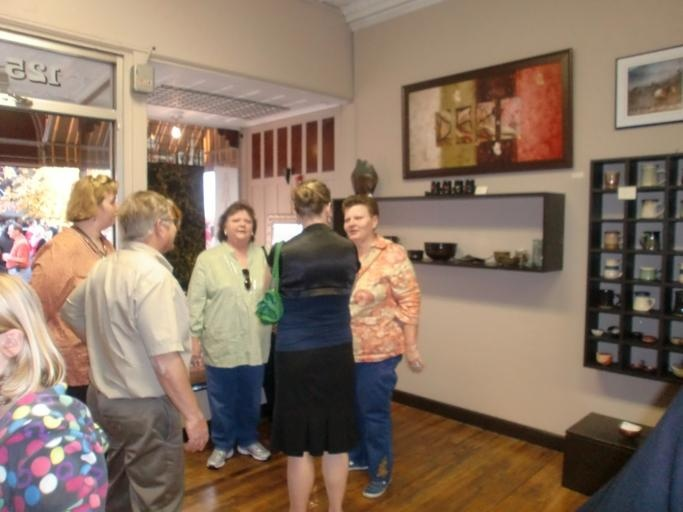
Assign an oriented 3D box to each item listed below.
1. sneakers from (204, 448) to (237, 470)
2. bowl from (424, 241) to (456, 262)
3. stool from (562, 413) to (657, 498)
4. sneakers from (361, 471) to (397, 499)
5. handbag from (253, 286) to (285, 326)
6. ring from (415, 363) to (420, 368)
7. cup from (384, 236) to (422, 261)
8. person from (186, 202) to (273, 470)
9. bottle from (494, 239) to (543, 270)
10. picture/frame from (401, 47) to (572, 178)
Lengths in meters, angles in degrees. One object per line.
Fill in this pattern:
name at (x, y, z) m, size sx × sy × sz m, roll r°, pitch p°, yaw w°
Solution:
sneakers at (-0.831, 1.368, 3.552) m, size 0.079 × 0.075 × 0.180 m, roll 2°, pitch -10°, yaw 11°
bowl at (0.781, -0.040, 4.219) m, size 0.165 × 0.103 × 0.172 m, roll 1°, pitch -6°, yaw 0°
stool at (1.692, 1.281, 3.293) m, size 0.295 × 0.426 × 0.440 m, roll -11°, pitch 9°, yaw -35°
sneakers at (0.201, 1.411, 3.223) m, size 0.073 × 0.070 × 0.169 m, roll -6°, pitch -11°, yaw 37°
handbag at (-0.367, 0.249, 2.668) m, size 0.136 × 0.188 × 0.075 m, roll 9°, pitch 8°, yaw 36°
ring at (0.475, 0.665, 3.230) m, size 0.026 × 0.027 × 0.010 m, roll -2°, pitch 5°, yaw -6°
cup at (0.564, -0.069, 4.381) m, size 0.198 × 0.103 × 0.278 m, roll -1°, pitch -20°, yaw 45°
person at (-0.707, 0.539, 3.591) m, size 0.617 × 1.815 × 0.515 m, roll -3°, pitch 11°, yaw -23°
bottle at (1.317, -0.027, 3.849) m, size 0.388 × 0.220 × 0.273 m, roll 6°, pitch 10°, yaw 36°
picture/frame at (1.166, -1.110, 4.063) m, size 1.126 × 0.699 × 0.045 m, roll 1°, pitch 1°, yaw 38°
